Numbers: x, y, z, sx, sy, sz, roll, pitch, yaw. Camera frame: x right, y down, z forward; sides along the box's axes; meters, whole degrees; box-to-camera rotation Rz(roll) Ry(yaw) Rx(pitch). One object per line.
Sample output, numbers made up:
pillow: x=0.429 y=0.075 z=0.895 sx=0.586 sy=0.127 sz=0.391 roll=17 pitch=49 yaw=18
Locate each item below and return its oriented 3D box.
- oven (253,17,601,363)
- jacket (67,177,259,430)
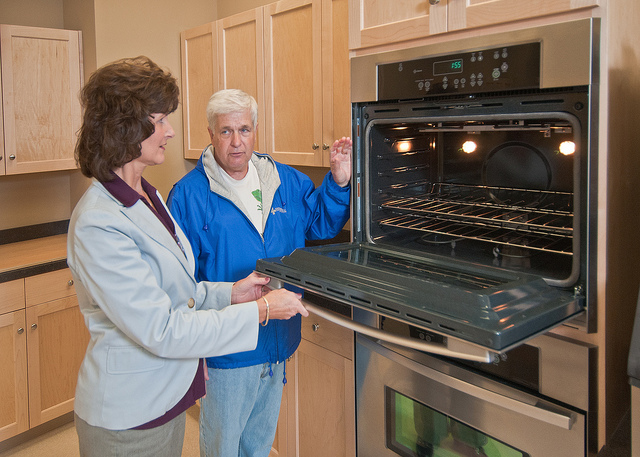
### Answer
oven: x=0.403 y=-0.167 z=1.666 sx=0.747 sy=0.895 sz=0.957 roll=-6 pitch=11 yaw=-37
jacket: x=-0.503 y=0.218 z=1.801 sx=0.673 sy=0.828 sz=0.631 roll=0 pitch=5 yaw=18
